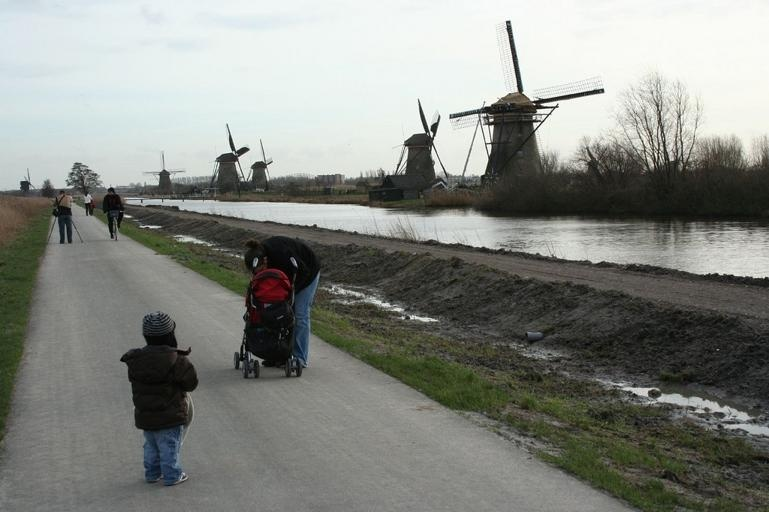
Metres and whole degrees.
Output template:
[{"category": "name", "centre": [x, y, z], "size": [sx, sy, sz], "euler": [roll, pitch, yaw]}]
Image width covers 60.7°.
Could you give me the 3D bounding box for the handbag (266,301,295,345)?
[{"category": "handbag", "centre": [-1.807, 1.128, 11.158], "size": [0.641, 0.444, 0.876], "euler": [-11, -18, -8]}]

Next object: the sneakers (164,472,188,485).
[{"category": "sneakers", "centre": [-2.627, 2.849, 8.326], "size": [0.112, 0.132, 0.311], "euler": [8, 9, 40]}]

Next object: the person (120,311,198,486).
[{"category": "person", "centre": [-2.761, 1.798, 8.104], "size": [0.791, 2.227, 0.387], "euler": [-1, 10, -22]}]

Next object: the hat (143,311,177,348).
[{"category": "hat", "centre": [-2.757, 0.855, 8.140], "size": [0.371, 0.469, 0.471], "euler": [3, 28, -7]}]

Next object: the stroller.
[{"category": "stroller", "centre": [-2.000, 1.152, 11.446], "size": [1.149, 2.058, 0.771], "euler": [4, 10, 4]}]

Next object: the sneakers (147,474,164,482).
[{"category": "sneakers", "centre": [-2.934, 2.832, 8.407], "size": [0.213, 0.088, 0.078], "euler": [-1, 0, -15]}]
